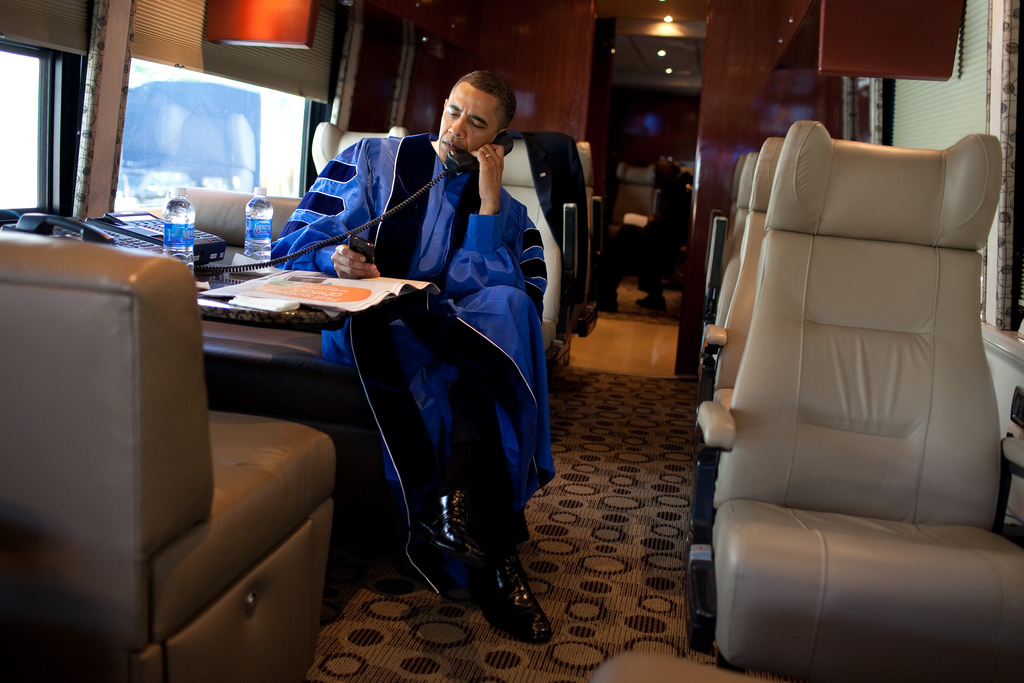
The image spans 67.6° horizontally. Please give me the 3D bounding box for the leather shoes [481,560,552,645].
[{"bbox_3d":[-0.023,0.835,2.457,0.128,0.158,0.364,-5,5,-24],"label":"leather shoes"}]
